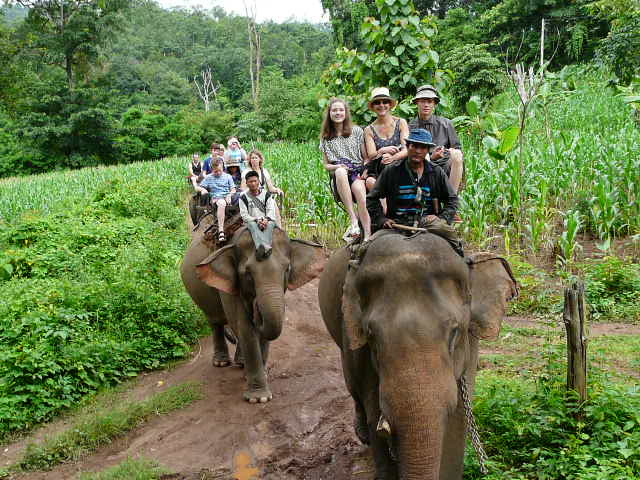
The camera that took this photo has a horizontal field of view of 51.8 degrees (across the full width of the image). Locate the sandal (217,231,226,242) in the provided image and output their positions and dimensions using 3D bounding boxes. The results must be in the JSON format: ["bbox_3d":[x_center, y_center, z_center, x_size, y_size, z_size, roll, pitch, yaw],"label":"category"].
[{"bbox_3d":[-1.220,-0.065,8.225,0.101,0.104,0.025,0,-5,23],"label":"sandal"}]

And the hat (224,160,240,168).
[{"bbox_3d":[-1.309,-1.144,9.736,0.166,0.052,0.169,-1,3,45],"label":"hat"}]

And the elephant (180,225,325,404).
[{"bbox_3d":[-0.896,0.826,8.708,1.765,2.125,2.837,-1,6,-20],"label":"elephant"}]

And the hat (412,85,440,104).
[{"bbox_3d":[1.224,-1.721,7.699,0.255,0.146,0.254,-5,1,9],"label":"hat"}]

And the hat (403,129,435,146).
[{"bbox_3d":[0.923,-0.961,6.134,0.230,0.153,0.152,-2,8,-3],"label":"hat"}]

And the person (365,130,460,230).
[{"bbox_3d":[0.863,-0.587,6.205,0.856,0.894,0.412,0,8,7],"label":"person"}]

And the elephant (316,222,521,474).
[{"bbox_3d":[0.874,1.144,6.005,1.366,2.597,1.659,-2,8,-2],"label":"elephant"}]

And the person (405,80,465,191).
[{"bbox_3d":[1.303,-1.122,7.748,0.697,1.440,0.827,-8,12,-14],"label":"person"}]

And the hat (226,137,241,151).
[{"bbox_3d":[-1.473,-1.658,11.227,0.191,0.198,0.297,-2,8,-6],"label":"hat"}]
